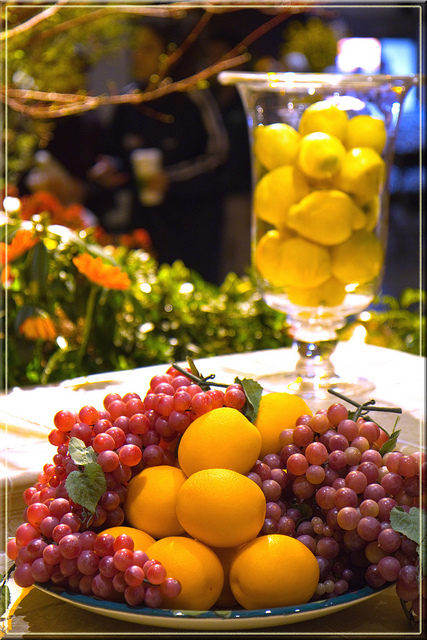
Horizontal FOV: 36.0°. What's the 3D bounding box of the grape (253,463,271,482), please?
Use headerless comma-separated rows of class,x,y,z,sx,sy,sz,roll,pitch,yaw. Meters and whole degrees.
grape,0.027,0.085,0.364,0.010,0.010,0.009,1,-9,-4

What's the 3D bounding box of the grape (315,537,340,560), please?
grape,0.061,0.122,0.353,0.007,0.010,0.008,18,-26,47

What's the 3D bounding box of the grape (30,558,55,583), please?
grape,-0.086,0.127,0.341,0.013,0.013,0.012,2,7,5

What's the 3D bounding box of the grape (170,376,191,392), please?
grape,-0.020,0.038,0.397,0.009,0.009,0.008,3,-23,0

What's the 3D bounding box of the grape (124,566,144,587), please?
grape,-0.037,0.121,0.314,0.010,0.010,0.009,1,1,8

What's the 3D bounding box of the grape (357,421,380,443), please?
grape,0.091,0.065,0.383,0.013,0.013,0.012,0,-6,2

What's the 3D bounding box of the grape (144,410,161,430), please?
grape,-0.037,0.058,0.386,0.011,0.011,0.010,3,-9,-7

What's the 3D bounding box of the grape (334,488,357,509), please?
grape,0.070,0.094,0.351,0.012,0.012,0.011,0,3,3

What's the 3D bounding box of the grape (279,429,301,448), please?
grape,0.044,0.069,0.381,0.010,0.010,0.009,-1,5,0

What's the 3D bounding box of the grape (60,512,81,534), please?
grape,-0.074,0.106,0.343,0.011,0.010,0.010,3,-6,-1

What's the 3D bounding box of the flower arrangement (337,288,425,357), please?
flower arrangement,0.314,-0.008,1.145,0.172,0.070,0.134,3,-18,39

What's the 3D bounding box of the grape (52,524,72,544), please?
grape,-0.078,0.109,0.338,0.010,0.010,0.009,2,6,4

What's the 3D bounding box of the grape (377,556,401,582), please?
grape,0.089,0.127,0.340,0.013,0.012,0.011,2,8,6

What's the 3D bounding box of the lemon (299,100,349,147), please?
lemon,0.111,-0.196,0.665,0.049,0.047,0.042,0,13,-11

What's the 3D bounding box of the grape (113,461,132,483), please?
grape,-0.049,0.083,0.359,0.012,0.012,0.011,-1,-5,-4

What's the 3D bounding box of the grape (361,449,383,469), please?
grape,0.089,0.078,0.373,0.011,0.011,0.010,-2,4,1

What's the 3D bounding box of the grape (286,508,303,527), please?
grape,0.045,0.110,0.366,0.009,0.009,0.008,-1,5,3

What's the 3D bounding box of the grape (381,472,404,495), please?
grape,0.098,0.089,0.363,0.013,0.012,0.011,1,4,3

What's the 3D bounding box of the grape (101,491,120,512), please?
grape,-0.055,0.096,0.351,0.011,0.010,0.010,0,5,3

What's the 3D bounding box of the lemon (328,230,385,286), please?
lemon,0.151,-0.071,0.727,0.056,0.059,0.035,-20,32,-33

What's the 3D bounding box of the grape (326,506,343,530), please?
grape,0.063,0.106,0.355,0.012,0.012,0.011,1,6,4

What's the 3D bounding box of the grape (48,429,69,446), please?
grape,-0.089,0.069,0.390,0.012,0.009,0.011,9,-5,39

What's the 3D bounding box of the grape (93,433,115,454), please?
grape,-0.060,0.067,0.361,0.011,0.011,0.011,11,-15,-41

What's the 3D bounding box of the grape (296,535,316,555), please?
grape,0.049,0.120,0.353,0.012,0.011,0.010,-3,-26,-8

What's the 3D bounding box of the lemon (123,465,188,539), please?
lemon,-0.032,0.097,0.353,0.040,0.038,0.036,2,-11,-2

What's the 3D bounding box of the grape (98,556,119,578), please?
grape,-0.052,0.120,0.326,0.011,0.010,0.010,-3,9,-21

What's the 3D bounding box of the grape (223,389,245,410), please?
grape,0.012,0.045,0.378,0.013,0.011,0.011,1,2,2

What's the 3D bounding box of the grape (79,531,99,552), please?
grape,-0.064,0.113,0.337,0.009,0.009,0.009,1,4,7

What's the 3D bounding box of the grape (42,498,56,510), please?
grape,-0.091,0.102,0.365,0.006,0.005,0.006,-7,43,4

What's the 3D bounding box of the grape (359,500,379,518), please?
grape,0.082,0.099,0.348,0.009,0.009,0.008,1,2,2

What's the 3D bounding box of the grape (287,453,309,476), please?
grape,0.046,0.079,0.364,0.012,0.012,0.011,1,4,2

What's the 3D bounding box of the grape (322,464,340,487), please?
grape,0.065,0.087,0.368,0.011,0.011,0.010,0,6,4

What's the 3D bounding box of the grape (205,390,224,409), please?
grape,0.002,0.046,0.379,0.011,0.010,0.010,-2,5,1

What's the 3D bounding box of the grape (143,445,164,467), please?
grape,-0.034,0.077,0.376,0.007,0.011,0.012,1,4,37

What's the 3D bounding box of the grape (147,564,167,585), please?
grape,-0.026,0.119,0.313,0.010,0.010,0.009,2,9,2

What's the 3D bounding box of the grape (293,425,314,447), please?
grape,0.050,0.066,0.374,0.013,0.012,0.011,0,-5,-2

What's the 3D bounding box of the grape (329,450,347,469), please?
grape,0.069,0.077,0.367,0.011,0.010,0.010,0,0,2

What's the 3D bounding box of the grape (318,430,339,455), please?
grape,0.064,0.069,0.378,0.012,0.012,0.011,5,-18,-1

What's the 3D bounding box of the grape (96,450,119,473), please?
grape,-0.056,0.075,0.350,0.012,0.012,0.011,-17,-22,14

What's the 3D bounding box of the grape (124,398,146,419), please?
grape,-0.047,0.053,0.390,0.012,0.012,0.011,4,-30,-7

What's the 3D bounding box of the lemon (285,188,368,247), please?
lemon,0.121,-0.106,0.678,0.090,0.059,0.050,-2,3,-7
